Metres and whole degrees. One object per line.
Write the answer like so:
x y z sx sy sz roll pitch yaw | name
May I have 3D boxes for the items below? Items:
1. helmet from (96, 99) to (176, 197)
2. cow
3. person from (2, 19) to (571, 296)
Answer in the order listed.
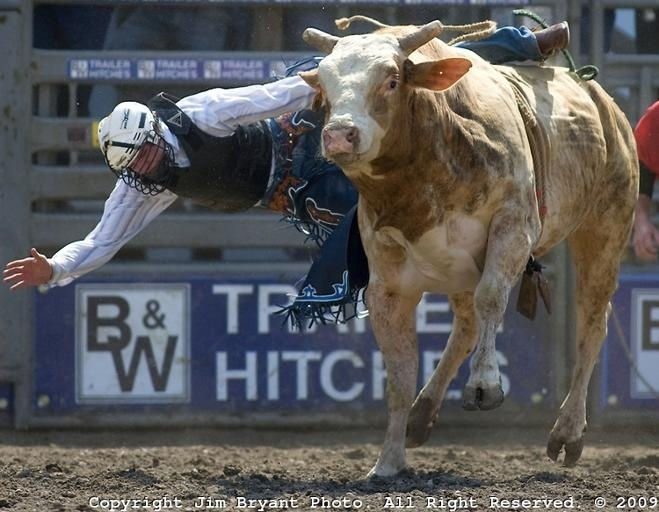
-1.035 -0.586 11.181 0.411 0.496 0.214 -1 12 -4 | helmet
0.831 0.039 10.989 2.045 2.638 0.830 -8 14 -30 | cow
-0.319 -0.558 11.401 2.737 1.136 1.546 -25 1 -30 | person
